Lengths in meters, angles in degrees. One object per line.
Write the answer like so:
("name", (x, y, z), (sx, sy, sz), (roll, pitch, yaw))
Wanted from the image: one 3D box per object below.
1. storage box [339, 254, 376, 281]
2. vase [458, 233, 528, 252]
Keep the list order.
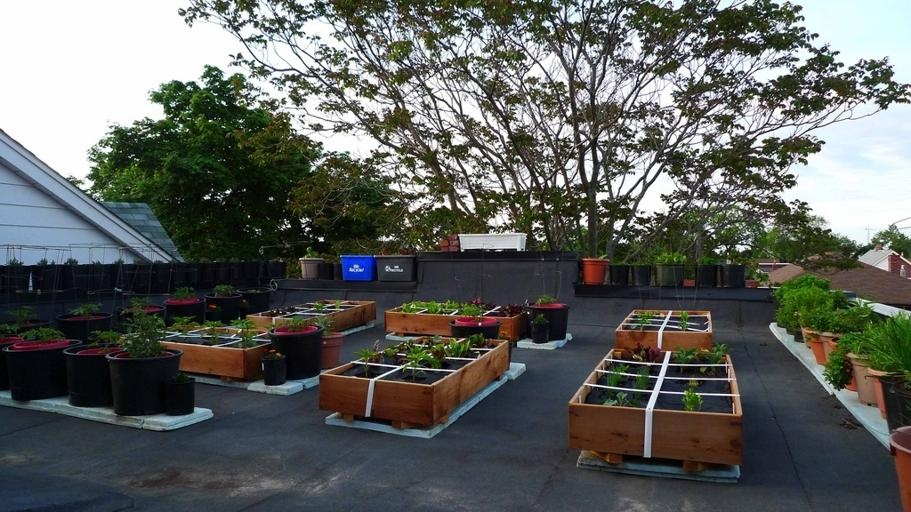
("storage box", (-2.968, 0.373, 15.415), (0.993, 0.494, 0.895), (-1, -3, 4))
("vase", (1.046, -0.388, 14.756), (1.902, 0.525, 0.520), (-1, -2, 5))
